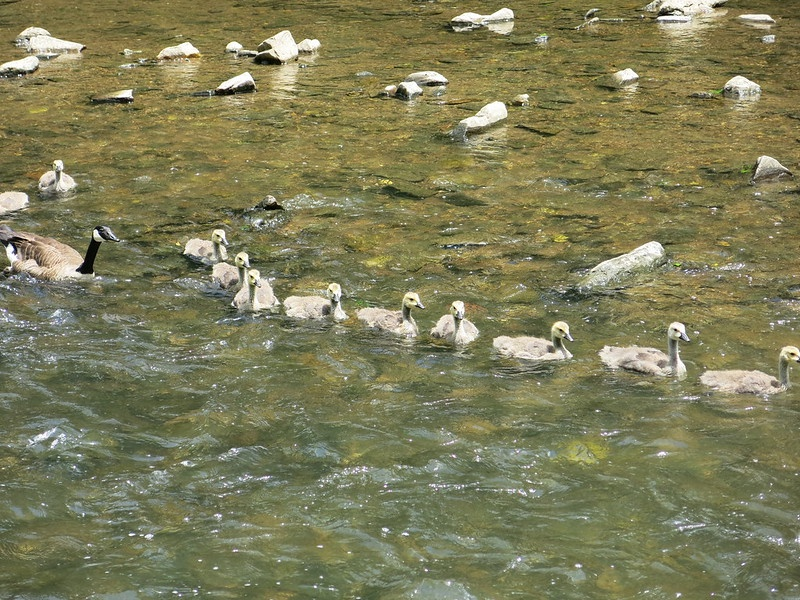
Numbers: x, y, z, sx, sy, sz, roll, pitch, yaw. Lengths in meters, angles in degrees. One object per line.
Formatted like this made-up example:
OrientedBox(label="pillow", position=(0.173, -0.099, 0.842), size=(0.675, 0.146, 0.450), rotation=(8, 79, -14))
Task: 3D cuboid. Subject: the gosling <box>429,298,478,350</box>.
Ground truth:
OrientedBox(label="gosling", position=(0.919, 0.386, 20.558), size=(0.795, 0.577, 0.845), rotation=(-5, 40, -2))
